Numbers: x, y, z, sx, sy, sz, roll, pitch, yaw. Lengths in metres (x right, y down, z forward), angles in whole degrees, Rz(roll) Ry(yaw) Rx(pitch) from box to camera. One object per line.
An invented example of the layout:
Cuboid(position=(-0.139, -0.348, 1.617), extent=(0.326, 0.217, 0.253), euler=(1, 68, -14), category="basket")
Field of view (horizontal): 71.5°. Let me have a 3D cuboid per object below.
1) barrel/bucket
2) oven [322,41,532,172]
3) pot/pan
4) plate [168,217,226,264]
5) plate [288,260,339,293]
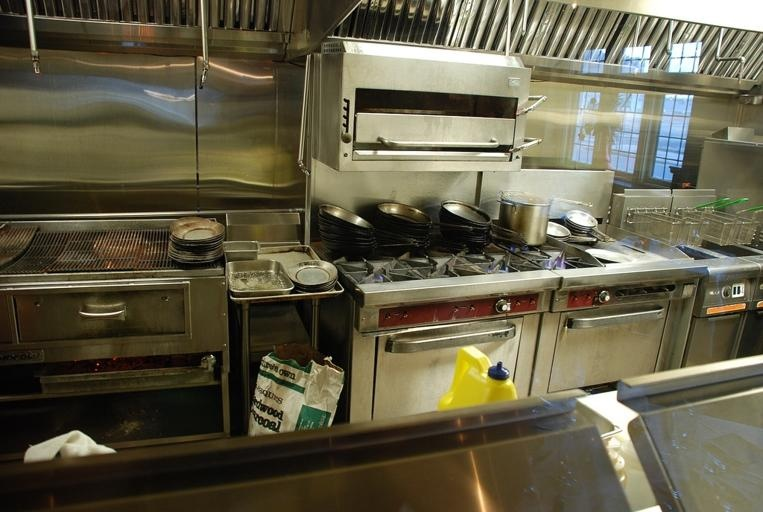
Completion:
Cuboid(position=(0.328, 0.444, 1.948), extent=(0.205, 0.250, 0.302), euler=(-5, 8, -29), category="barrel/bucket")
Cuboid(position=(0.263, -0.933, 3.439), extent=(1.420, 0.711, 0.814), euler=(-5, 22, -24), category="oven")
Cuboid(position=(0.243, -0.180, 3.523), extent=(1.269, 0.306, 0.605), euler=(-4, 10, -33), category="pot/pan")
Cuboid(position=(-1.065, -0.092, 3.052), extent=(0.307, 0.203, 0.405), euler=(-6, 14, -18), category="plate")
Cuboid(position=(-0.395, 0.113, 3.052), extent=(0.273, 0.119, 0.260), euler=(-4, 14, -11), category="plate")
